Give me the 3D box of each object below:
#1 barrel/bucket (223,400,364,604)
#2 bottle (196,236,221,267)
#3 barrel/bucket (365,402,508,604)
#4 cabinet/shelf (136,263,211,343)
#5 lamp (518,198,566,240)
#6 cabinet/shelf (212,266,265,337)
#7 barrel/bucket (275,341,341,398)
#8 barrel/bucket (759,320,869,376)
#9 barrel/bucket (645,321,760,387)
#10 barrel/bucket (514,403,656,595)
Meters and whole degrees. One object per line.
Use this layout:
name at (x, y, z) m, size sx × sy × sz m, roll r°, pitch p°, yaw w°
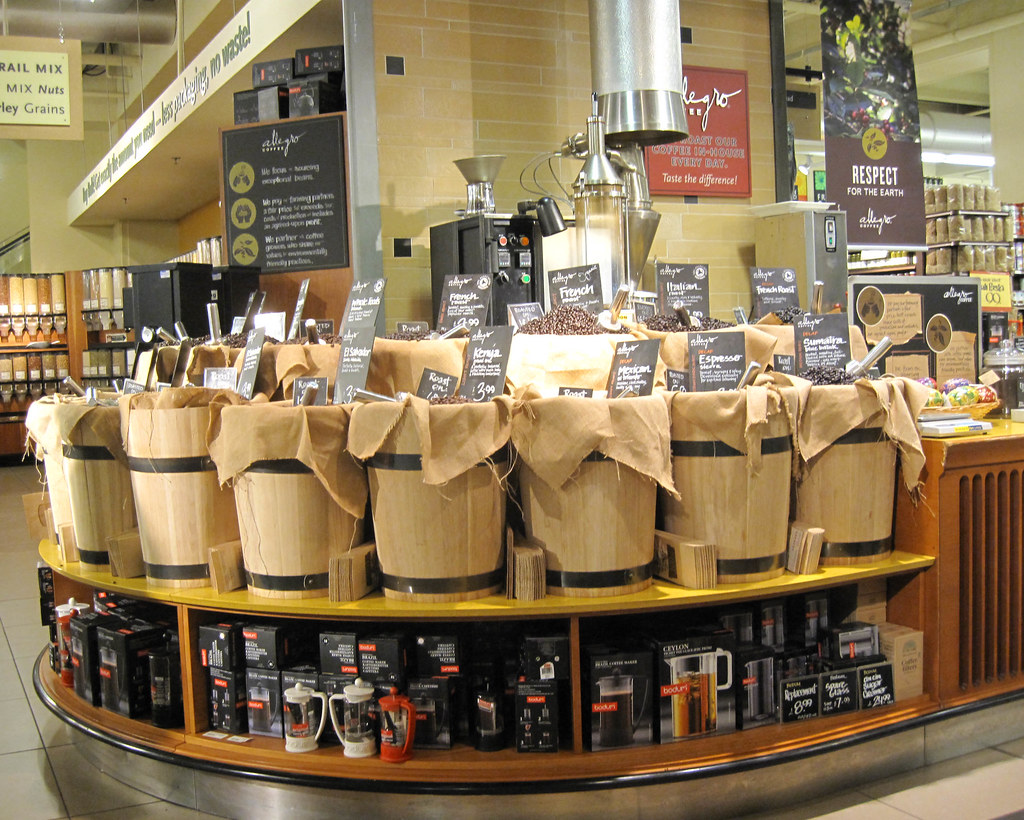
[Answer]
barrel/bucket at (-0.695, 0.303, 3.208) m, size 0.590 × 0.640 × 0.578 m, roll 0°, pitch 3°, yaw 0°
bottle at (-2.515, -1.341, 7.399) m, size 0.175 × 0.265 × 0.662 m, roll -6°, pitch 5°, yaw -20°
barrel/bucket at (-0.231, 0.310, 3.057) m, size 0.489 × 0.565 × 0.567 m, roll 1°, pitch 2°, yaw -5°
cabinet/shelf at (-2.290, -0.750, 6.014) m, size 0.554 × 0.503 × 0.324 m, roll -6°, pitch 5°, yaw -15°
lamp at (0.175, -1.140, 5.227) m, size 0.145 × 0.237 × 0.393 m, roll -6°, pitch 5°, yaw -23°
cabinet/shelf at (-1.848, -0.755, 5.960) m, size 0.336 × 0.432 × 0.311 m, roll -5°, pitch 5°, yaw -10°
barrel/bucket at (-0.818, -0.170, 3.578) m, size 0.257 × 0.212 × 0.146 m, roll -6°, pitch 5°, yaw -15°
barrel/bucket at (1.178, -0.289, 3.603) m, size 0.323 × 0.178 × 0.325 m, roll 0°, pitch 4°, yaw 0°
barrel/bucket at (0.704, -0.239, 3.196) m, size 0.307 × 0.168 × 0.258 m, roll -6°, pitch 9°, yaw -26°
barrel/bucket at (0.243, 0.262, 3.029) m, size 0.558 × 0.566 × 0.551 m, roll -1°, pitch 3°, yaw 0°
